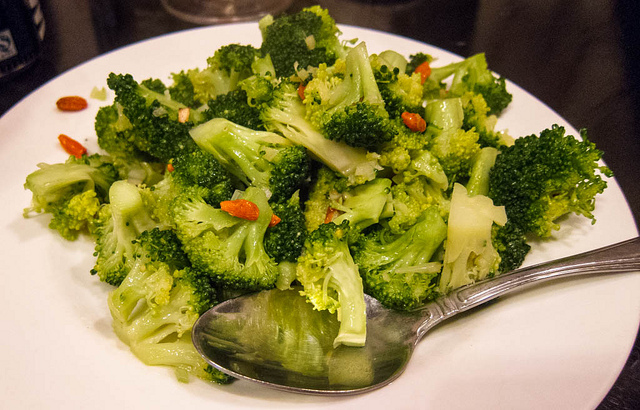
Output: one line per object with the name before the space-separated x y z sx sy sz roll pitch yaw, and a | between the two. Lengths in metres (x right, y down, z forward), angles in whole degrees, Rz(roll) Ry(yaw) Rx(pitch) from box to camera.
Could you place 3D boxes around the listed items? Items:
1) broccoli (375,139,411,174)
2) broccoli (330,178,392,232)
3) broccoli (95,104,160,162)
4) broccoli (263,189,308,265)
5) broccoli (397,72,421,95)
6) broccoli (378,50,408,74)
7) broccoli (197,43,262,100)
broccoli | 0.506 -0.323 3.416 0.203 0.083 0.225 -25 81 21
broccoli | 0.315 -0.017 3.456 0.365 0.111 0.361 -32 76 14
broccoli | -1.441 -0.497 3.742 0.458 0.350 0.154 50 50 -12
broccoli | -0.221 0.148 3.409 0.324 0.191 0.441 -7 93 -4
broccoli | 0.619 -0.856 3.533 0.155 0.060 0.145 2 63 -28
broccoli | 0.554 -1.090 3.815 0.201 0.059 0.214 -25 93 -17
broccoli | -0.685 -1.060 3.893 0.254 0.336 0.318 -17 117 -44
